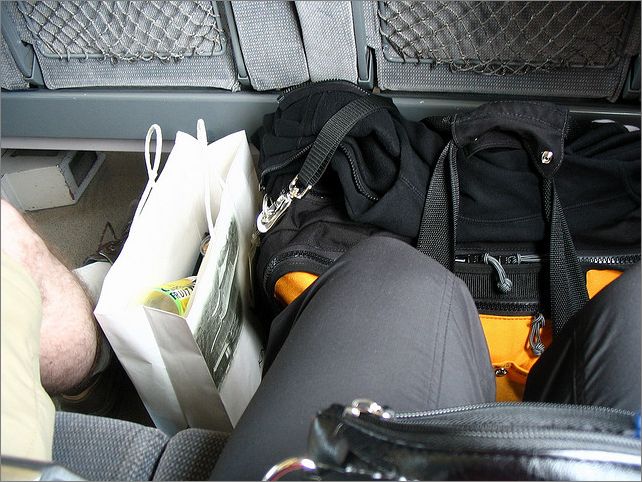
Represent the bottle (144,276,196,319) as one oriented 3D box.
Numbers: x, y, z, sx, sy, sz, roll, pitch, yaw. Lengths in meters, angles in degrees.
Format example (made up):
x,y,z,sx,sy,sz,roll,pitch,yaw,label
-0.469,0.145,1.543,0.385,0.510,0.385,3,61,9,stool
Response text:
x,y,z,sx,sy,sz,roll,pitch,yaw,label
-0.238,0.083,0.777,0.076,0.039,0.080,-6,37,4,bottle
